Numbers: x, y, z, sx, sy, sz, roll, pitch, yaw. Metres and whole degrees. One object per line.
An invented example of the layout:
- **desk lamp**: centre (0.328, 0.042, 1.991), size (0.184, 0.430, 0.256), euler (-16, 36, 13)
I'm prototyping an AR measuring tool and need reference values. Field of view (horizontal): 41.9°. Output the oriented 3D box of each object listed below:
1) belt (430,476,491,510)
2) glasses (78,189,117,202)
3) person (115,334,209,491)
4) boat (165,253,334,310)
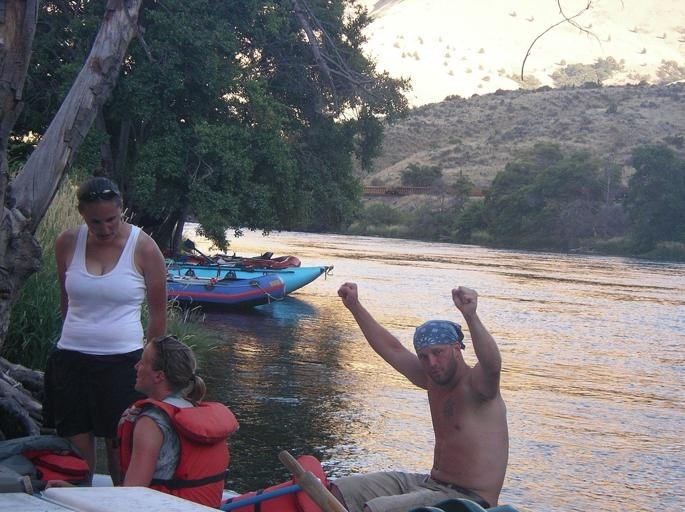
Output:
- **belt**: centre (1.063, 2.174, 7.956), size (0.471, 0.151, 0.338), euler (17, 0, 4)
- **glasses**: centre (-2.212, -0.540, 8.126), size (0.175, 0.049, 0.173), euler (-9, -4, -8)
- **person**: centre (-1.621, 1.344, 7.808), size (0.597, 1.146, 0.832), euler (5, 1, 28)
- **boat**: centre (-2.940, 0.754, 23.352), size (3.086, 1.165, 4.528), euler (4, -1, 19)
